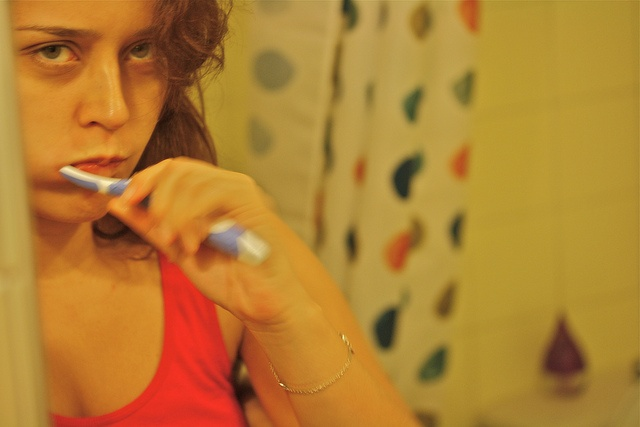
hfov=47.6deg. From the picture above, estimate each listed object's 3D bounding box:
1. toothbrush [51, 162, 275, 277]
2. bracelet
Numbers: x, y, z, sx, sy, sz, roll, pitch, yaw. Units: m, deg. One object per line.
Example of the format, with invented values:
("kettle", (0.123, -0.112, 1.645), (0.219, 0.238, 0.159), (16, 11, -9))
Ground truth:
("toothbrush", (-0.235, 0.004, 1.100), (0.289, 0.051, 0.058), (29, 23, -14))
("bracelet", (0.010, 0.238, 1.169), (0.170, 0.090, 0.075), (-6, 17, -40))
